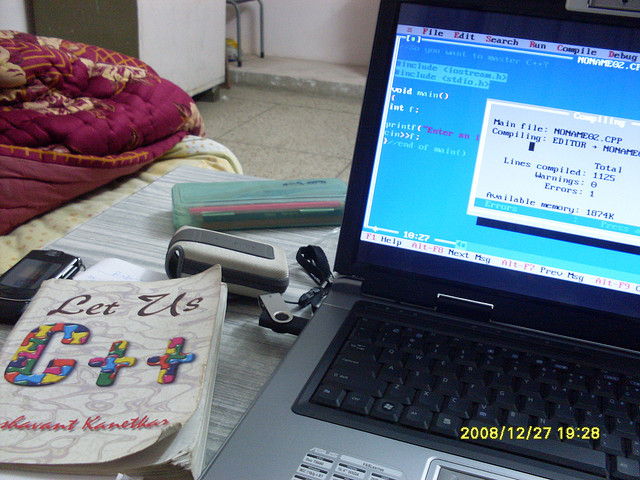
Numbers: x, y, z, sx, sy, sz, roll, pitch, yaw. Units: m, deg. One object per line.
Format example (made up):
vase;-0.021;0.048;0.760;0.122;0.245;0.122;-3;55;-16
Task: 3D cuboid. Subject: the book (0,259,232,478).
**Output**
book;-0.197;0.114;0.487;0.200;0.103;0.227;2;26;-5

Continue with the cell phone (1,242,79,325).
cell phone;-0.335;0.057;0.629;0.059;0.020;0.092;14;32;16

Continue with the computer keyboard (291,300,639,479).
computer keyboard;0.146;0.140;0.495;0.291;0.044;0.164;11;26;16
